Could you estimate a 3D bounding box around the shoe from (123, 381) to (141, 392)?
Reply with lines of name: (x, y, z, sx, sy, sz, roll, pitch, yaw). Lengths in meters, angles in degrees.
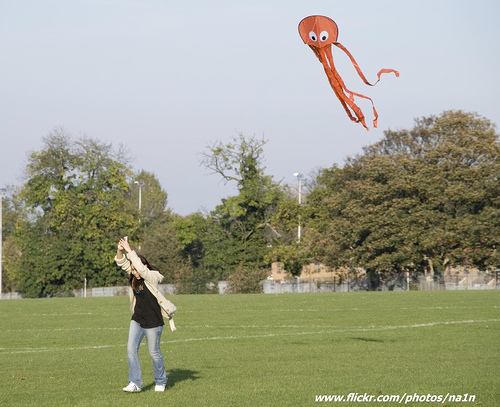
shoe: (-2.899, 4.512, 20.689, 0.396, 0.207, 0.181, 4, -4, 0)

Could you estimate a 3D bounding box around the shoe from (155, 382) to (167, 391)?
shoe: (-2.228, 4.542, 20.813, 0.246, 0.186, 0.169, -2, -10, -8)

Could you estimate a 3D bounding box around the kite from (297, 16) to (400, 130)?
kite: (3.084, -5.040, 31.748, 2.070, 4.480, 1.230, -9, -11, 31)
